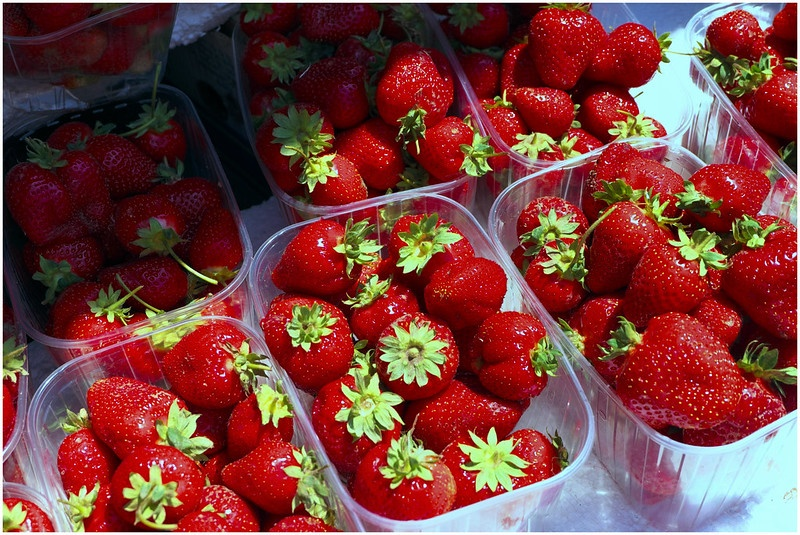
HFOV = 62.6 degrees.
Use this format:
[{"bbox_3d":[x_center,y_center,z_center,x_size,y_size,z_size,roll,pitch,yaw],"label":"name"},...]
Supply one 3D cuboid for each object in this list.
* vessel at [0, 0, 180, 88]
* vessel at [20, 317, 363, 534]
[{"bbox_3d":[-1.050,-0.756,2.200,0.407,0.330,0.153,-14,-33,-18],"label":"vessel"},{"bbox_3d":[-0.604,0.497,1.839,0.582,0.713,0.246,-46,-19,-19],"label":"vessel"}]
